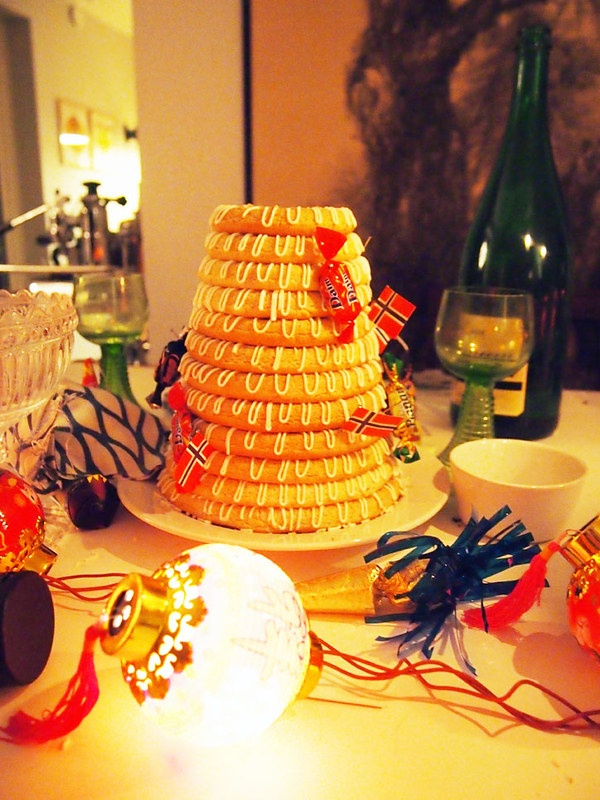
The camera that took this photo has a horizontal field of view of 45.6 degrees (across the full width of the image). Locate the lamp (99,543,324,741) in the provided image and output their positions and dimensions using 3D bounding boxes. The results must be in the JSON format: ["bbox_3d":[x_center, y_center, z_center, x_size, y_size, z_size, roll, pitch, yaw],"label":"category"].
[{"bbox_3d":[-0.064,0.167,0.486,0.151,0.112,0.111,26,21,-31],"label":"lamp"}]

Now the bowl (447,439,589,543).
[{"bbox_3d":[0.238,0.088,0.778,0.127,0.059,0.112,-6,18,-34],"label":"bowl"}]

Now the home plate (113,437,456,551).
[{"bbox_3d":[0.011,0.088,0.752,0.227,0.219,0.023,-17,53,19],"label":"home plate"}]

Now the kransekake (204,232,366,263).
[{"bbox_3d":[-0.047,-0.157,0.734,0.140,0.028,0.045,10,16,34],"label":"kransekake"}]

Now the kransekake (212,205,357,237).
[{"bbox_3d":[-0.021,-0.185,0.735,0.156,0.030,0.082,2,13,1],"label":"kransekake"}]

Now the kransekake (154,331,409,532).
[{"bbox_3d":[-0.015,0.012,0.722,0.238,0.121,0.219,2,16,5],"label":"kransekake"}]
